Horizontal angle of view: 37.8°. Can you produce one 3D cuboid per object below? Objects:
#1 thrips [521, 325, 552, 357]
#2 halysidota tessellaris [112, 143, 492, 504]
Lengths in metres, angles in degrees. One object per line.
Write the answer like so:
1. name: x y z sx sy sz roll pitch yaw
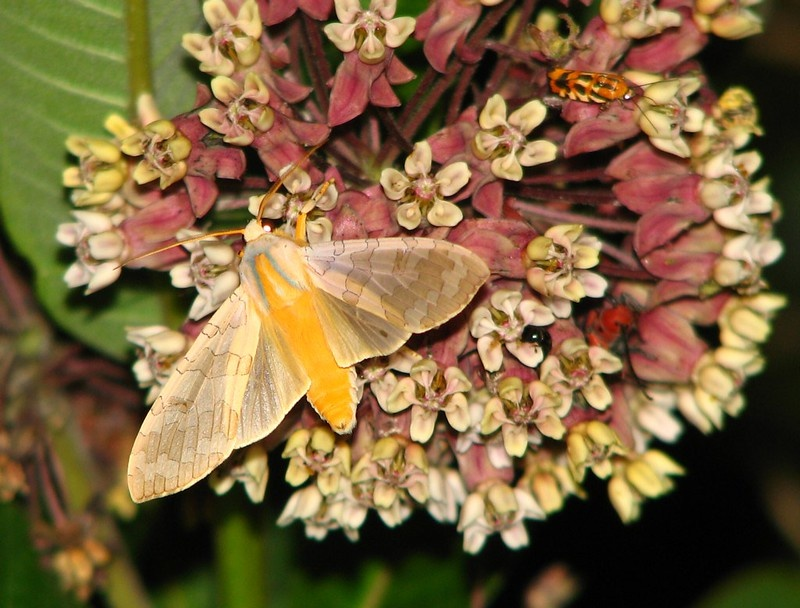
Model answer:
1. thrips: 0.480 0.120 4.050 0.087 0.110 0.043 -53 25 4
2. halysidota tessellaris: -0.342 0.134 4.060 1.314 0.616 0.681 -9 52 -2
